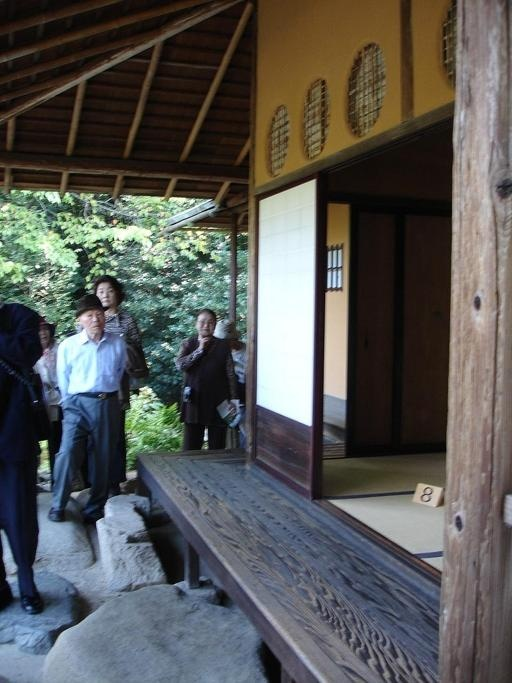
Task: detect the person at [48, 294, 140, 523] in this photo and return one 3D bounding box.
[{"bbox_3d":[-1.285,0.552,3.810,0.383,1.777,0.482,0,-1,34],"label":"person"}]

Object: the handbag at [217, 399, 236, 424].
[{"bbox_3d":[-0.298,0.669,4.705,0.164,0.243,0.192,-27,-8,-11],"label":"handbag"}]

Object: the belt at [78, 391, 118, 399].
[{"bbox_3d":[-1.179,0.410,3.742,0.273,0.056,0.083,1,-1,-33],"label":"belt"}]

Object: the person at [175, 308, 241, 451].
[{"bbox_3d":[-0.449,0.375,4.614,0.559,1.327,0.511,1,-1,-20],"label":"person"}]

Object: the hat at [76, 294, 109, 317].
[{"bbox_3d":[-1.274,-0.276,3.915,0.212,0.101,0.259,-8,-30,-29],"label":"hat"}]
